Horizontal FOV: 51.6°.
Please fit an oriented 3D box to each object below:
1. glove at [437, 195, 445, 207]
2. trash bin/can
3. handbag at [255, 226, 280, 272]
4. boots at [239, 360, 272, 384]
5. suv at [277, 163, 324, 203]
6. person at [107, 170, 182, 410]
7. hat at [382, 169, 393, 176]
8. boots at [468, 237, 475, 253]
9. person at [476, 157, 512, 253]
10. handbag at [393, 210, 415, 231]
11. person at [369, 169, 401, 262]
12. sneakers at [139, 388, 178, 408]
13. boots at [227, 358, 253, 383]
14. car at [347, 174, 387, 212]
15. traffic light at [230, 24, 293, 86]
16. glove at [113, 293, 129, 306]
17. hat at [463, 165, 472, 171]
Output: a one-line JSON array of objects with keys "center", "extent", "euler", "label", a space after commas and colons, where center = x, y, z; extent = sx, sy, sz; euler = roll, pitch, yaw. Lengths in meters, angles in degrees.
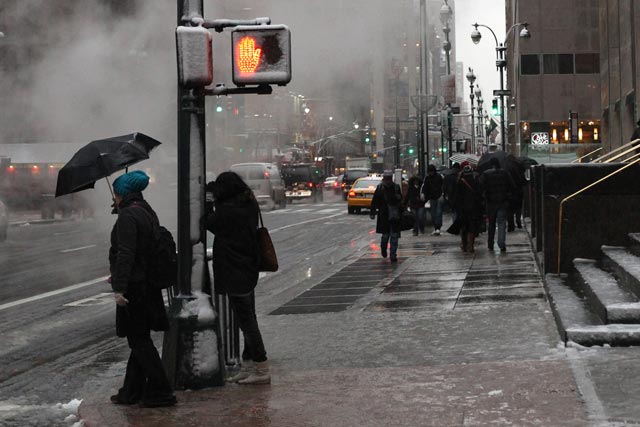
[{"center": [3.465, -0.358, 18.892], "extent": [0.184, 0.271, 0.078], "euler": [12, 10, -27], "label": "glove"}, {"center": [-1.193, 1.393, 6.747], "extent": [0.623, 0.853, 0.638], "euler": [0, -4, -8], "label": "trash bin/can"}, {"center": [-0.551, 0.258, 7.032], "extent": [0.205, 0.522, 0.531], "euler": [-6, 24, -2], "label": "handbag"}, {"center": [-0.693, 1.607, 6.676], "extent": [0.393, 0.294, 0.158], "euler": [2, -3, 5], "label": "boots"}, {"center": [-1.096, -2.103, 41.410], "extent": [1.614, 1.587, 3.134], "euler": [0, 8, 12], "label": "suv"}, {"center": [-1.706, 0.702, 6.311], "extent": [0.697, 2.175, 0.607], "euler": [-3, 7, 3], "label": "person"}, {"center": [1.454, -0.872, 14.071], "extent": [0.157, 0.110, 0.119], "euler": [4, -2, -5], "label": "hat"}, {"center": [3.375, 0.679, 14.812], "extent": [0.132, 0.355, 0.416], "euler": [-3, 8, 10], "label": "boots"}, {"center": [4.018, -0.215, 14.953], "extent": [0.708, 2.131, 1.148], "euler": [-2, 7, 15], "label": "person"}, {"center": [1.858, 0.165, 14.485], "extent": [0.396, 0.427, 0.394], "euler": [-1, 6, 0], "label": "handbag"}, {"center": [1.471, 0.063, 14.363], "extent": [0.670, 1.949, 1.109], "euler": [-4, 7, -3], "label": "person"}, {"center": [-1.516, 1.733, 6.189], "extent": [0.303, 0.139, 0.145], "euler": [3, -3, -5], "label": "sneakers"}, {"center": [-0.849, 1.617, 6.816], "extent": [0.347, 0.260, 0.135], "euler": [-1, 0, 11], "label": "boots"}, {"center": [1.714, -0.752, 25.019], "extent": [1.616, 1.576, 4.367], "euler": [-1, 5, 8], "label": "car"}, {"center": [-0.576, -1.566, 6.492], "extent": [0.590, 0.590, 0.223], "euler": [0, 0, 1], "label": "traffic light"}, {"center": [-1.833, 0.795, 6.106], "extent": [0.123, 0.126, 0.124], "euler": [-8, 9, -19], "label": "glove"}, {"center": [3.351, -1.034, 15.003], "extent": [0.107, 0.139, 0.147], "euler": [3, -23, 11], "label": "hat"}]
